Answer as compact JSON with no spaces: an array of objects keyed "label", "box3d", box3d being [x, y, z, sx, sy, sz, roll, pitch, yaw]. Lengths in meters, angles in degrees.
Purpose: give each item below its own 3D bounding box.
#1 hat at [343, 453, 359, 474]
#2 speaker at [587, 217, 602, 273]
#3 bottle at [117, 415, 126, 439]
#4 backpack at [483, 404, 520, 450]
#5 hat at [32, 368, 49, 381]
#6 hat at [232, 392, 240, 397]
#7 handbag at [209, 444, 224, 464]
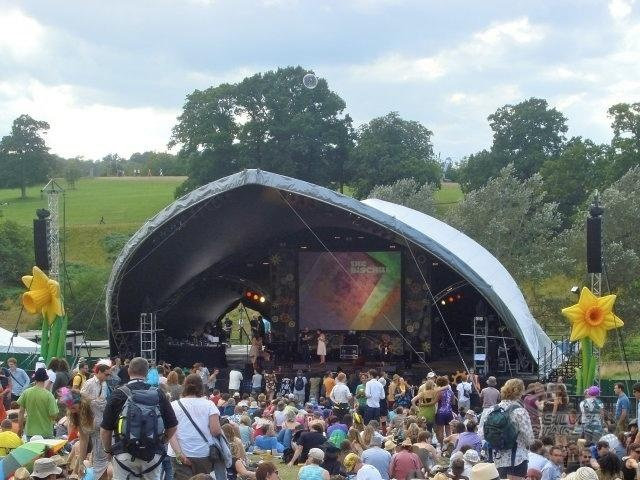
[{"label":"hat","box3d":[0.759,5.184,24.713,0.372,0.445,0.267,-5,-9,12]},{"label":"speaker","box3d":[8.910,0.179,34.355,0.473,1.736,0.824,-4,-9,10]},{"label":"bottle","box3d":[-4.101,3.850,22.041,0.164,0.425,0.302,5,5,4]},{"label":"backpack","box3d":[4.116,4.217,23.867,0.803,1.022,0.299,-4,-9,8]},{"label":"hat","box3d":[-6.562,3.165,24.955,0.306,0.330,0.365,1,-10,-23]},{"label":"hat","box3d":[-2.457,4.561,31.181,0.204,0.081,0.199,-2,12,-38]},{"label":"handbag","box3d":[-2.261,4.629,23.081,0.219,0.399,0.391,-7,-8,9]}]
